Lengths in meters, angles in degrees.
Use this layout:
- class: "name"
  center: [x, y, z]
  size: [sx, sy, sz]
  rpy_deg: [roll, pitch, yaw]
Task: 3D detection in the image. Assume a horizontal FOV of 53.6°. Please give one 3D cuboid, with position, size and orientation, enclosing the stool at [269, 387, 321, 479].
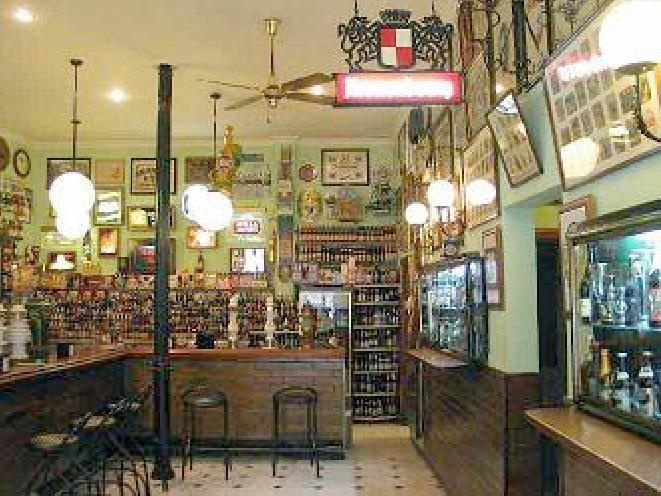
- class: "stool"
  center: [-0.417, 2.165, 7.933]
  size: [0.592, 0.932, 0.578]
  rpy_deg: [1, 2, -4]

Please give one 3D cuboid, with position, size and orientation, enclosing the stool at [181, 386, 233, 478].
- class: "stool"
  center: [-1.511, 2.237, 7.924]
  size: [0.590, 1.112, 0.633]
  rpy_deg: [-1, -2, -4]
